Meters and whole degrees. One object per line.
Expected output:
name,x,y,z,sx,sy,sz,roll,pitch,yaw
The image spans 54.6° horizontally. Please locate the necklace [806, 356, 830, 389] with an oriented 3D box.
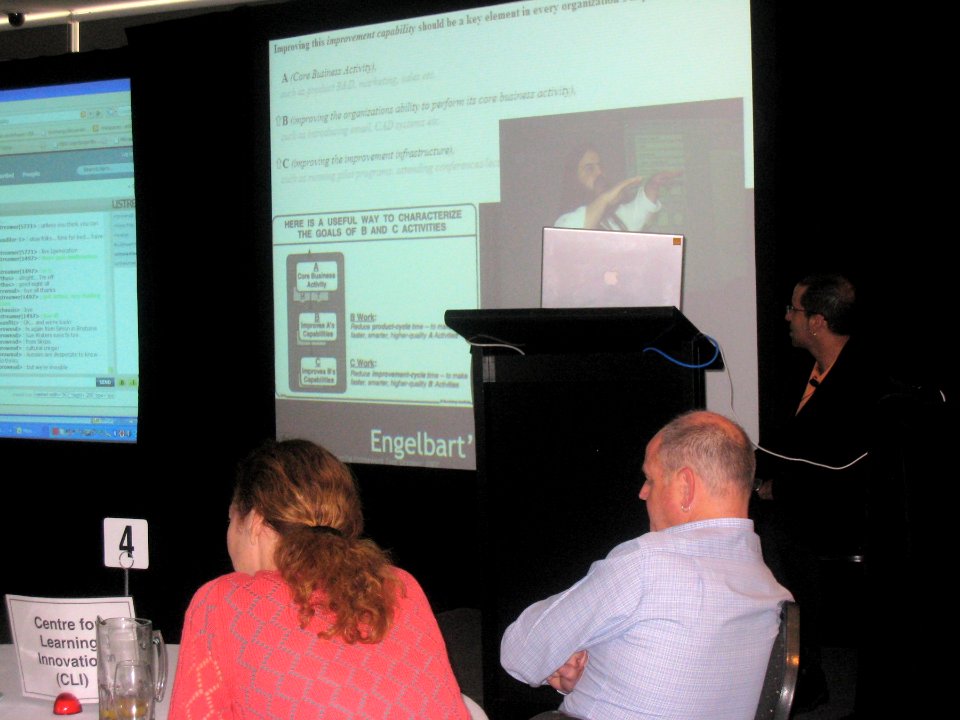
necklace,1.232,0.043,3.386,0.060,0.089,0.061,0,24,-7
